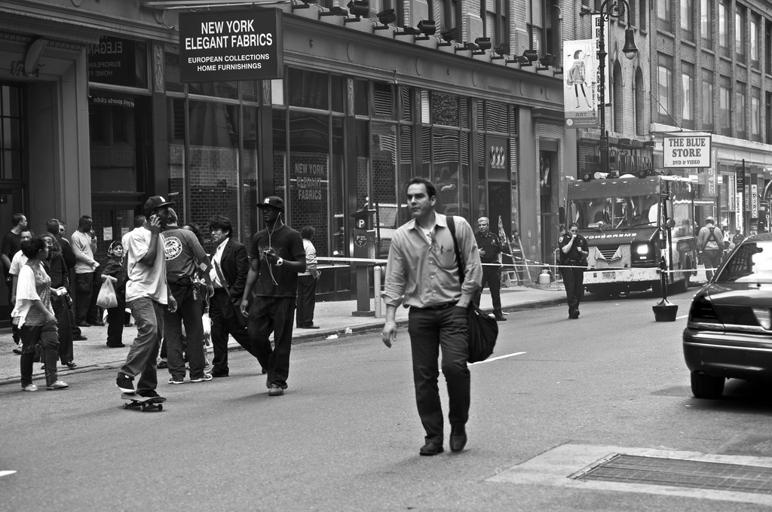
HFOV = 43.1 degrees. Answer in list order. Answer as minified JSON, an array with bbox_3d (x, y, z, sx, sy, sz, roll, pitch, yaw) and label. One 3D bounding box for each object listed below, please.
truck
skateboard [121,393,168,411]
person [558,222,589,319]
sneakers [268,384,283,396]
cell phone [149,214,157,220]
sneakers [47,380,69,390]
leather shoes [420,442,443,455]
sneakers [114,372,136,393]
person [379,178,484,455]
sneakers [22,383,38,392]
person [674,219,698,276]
[{"bbox_3d":[8.180,-0.802,32.382,3.538,3.366,6.365,-1,4,28],"label":"truck"},{"bbox_3d":[-3.326,2.000,13.303,0.705,0.210,0.364,0,2,17],"label":"skateboard"},{"bbox_3d":[4.695,0.393,24.382,0.685,2.286,1.428,-1,2,10],"label":"person"},{"bbox_3d":[-1.573,1.923,13.968,0.218,0.149,0.177,-1,2,-10],"label":"sneakers"},{"bbox_3d":[-3.248,-0.530,13.577,0.114,0.073,0.030,0,2,15],"label":"cell phone"},{"bbox_3d":[-5.086,2.019,15.176,0.368,0.165,0.134,-3,-2,-2],"label":"sneakers"},{"bbox_3d":[0.509,2.140,10.811,0.110,0.131,0.295,-7,-11,34],"label":"leather shoes"},{"bbox_3d":[-3.571,1.744,13.376,0.238,0.308,0.252,-1,2,-16],"label":"sneakers"},{"bbox_3d":[0.523,0.809,10.763,1.034,2.781,0.392,-1,2,5],"label":"person"},{"bbox_3d":[-5.485,2.040,15.029,0.255,0.112,0.095,-7,-8,34],"label":"sneakers"},{"bbox_3d":[10.039,-0.254,32.718,0.763,0.991,1.982,0,2,16],"label":"person"}]
